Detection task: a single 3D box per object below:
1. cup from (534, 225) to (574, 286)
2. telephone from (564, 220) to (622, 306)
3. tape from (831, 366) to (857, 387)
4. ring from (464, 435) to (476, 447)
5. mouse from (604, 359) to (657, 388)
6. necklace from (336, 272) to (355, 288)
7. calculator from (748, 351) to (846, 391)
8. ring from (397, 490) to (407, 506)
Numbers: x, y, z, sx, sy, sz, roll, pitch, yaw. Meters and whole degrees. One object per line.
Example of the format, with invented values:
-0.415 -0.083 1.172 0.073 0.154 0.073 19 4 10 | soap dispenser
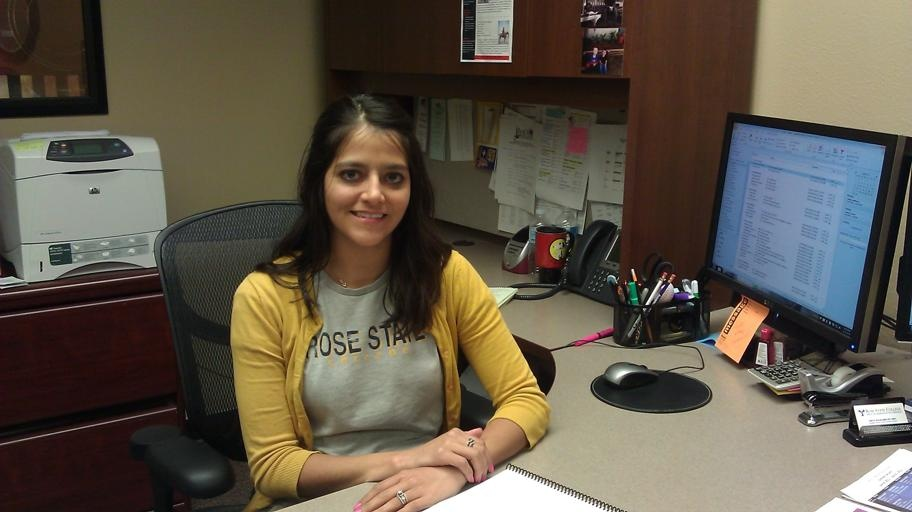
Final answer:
0.401 -0.006 2.314 0.117 0.239 0.119 0 2 0 | cup
0.548 0.016 2.271 0.354 0.255 0.128 11 -14 47 | telephone
1.097 0.334 1.642 0.075 0.021 0.041 -33 25 -19 | tape
0.038 0.473 1.479 0.019 0.006 0.017 0 61 22 | ring
0.505 0.333 1.707 0.129 0.041 0.071 -6 13 -28 | mouse
-0.313 0.069 1.635 0.045 0.016 0.036 33 10 35 | necklace
1.004 0.338 1.711 0.174 0.047 0.120 -6 20 -19 | calculator
-0.131 0.583 1.402 0.019 0.010 0.029 -18 64 -27 | ring
